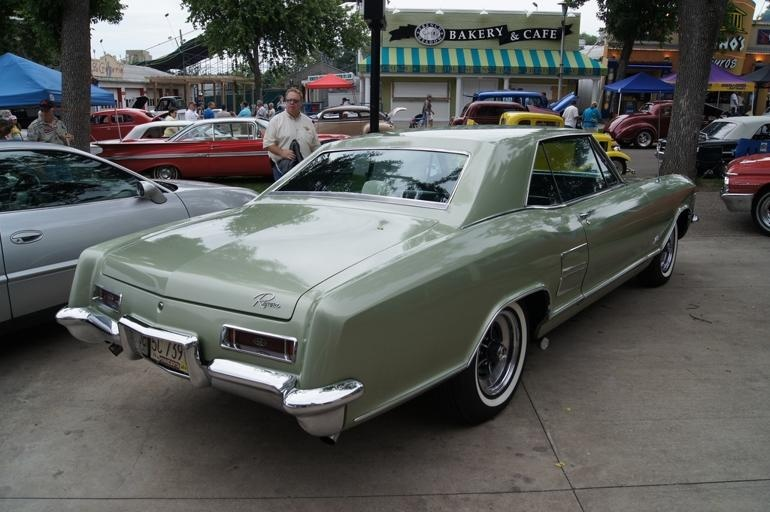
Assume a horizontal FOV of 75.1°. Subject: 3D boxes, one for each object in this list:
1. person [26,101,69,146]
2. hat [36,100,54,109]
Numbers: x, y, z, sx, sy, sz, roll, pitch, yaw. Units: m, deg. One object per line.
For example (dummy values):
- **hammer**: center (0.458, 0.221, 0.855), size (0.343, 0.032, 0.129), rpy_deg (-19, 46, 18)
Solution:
- **person**: center (-5.907, -2.270, 8.793), size (0.424, 0.734, 0.775), rpy_deg (23, 29, 10)
- **hat**: center (-5.837, -2.599, 8.596), size (0.141, 0.176, 0.178), rpy_deg (-5, 21, 10)
